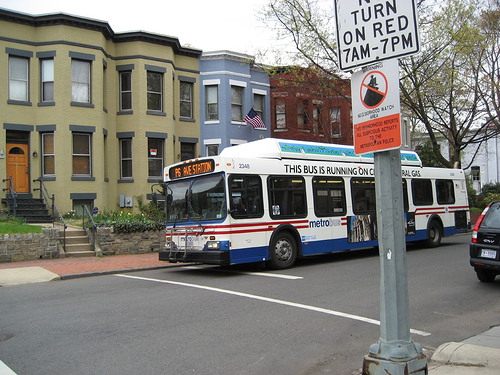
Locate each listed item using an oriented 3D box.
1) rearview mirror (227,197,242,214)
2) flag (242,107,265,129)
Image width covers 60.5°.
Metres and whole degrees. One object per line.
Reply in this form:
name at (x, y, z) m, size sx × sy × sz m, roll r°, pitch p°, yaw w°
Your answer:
rearview mirror at (-0.408, 0.516, 12.956) m, size 0.318 × 0.257 × 0.451 m, roll 4°, pitch 11°, yaw 28°
flag at (0.178, -4.622, 28.774) m, size 1.539 × 1.924 × 0.082 m, roll -1°, pitch -7°, yaw -17°
